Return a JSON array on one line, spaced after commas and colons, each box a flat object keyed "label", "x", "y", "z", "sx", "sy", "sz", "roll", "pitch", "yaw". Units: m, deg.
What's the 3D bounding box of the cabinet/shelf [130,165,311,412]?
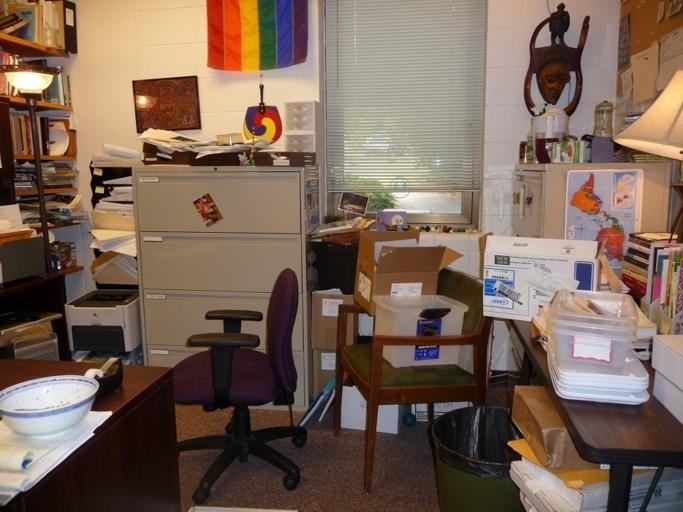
[{"label": "cabinet/shelf", "x": -0.738, "y": 0.170, "z": 4.039, "sx": 1.243, "sy": 1.671, "sz": 0.928, "roll": 1, "pitch": 9, "yaw": 7}]

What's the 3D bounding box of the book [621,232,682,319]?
[{"label": "book", "x": 1.372, "y": 0.049, "z": 2.423, "sx": 0.293, "sy": 0.400, "sz": 0.135, "roll": 1, "pitch": 5, "yaw": 21}]

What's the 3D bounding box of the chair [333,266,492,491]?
[{"label": "chair", "x": 0.450, "y": 0.739, "z": 3.212, "sx": 0.751, "sy": 0.956, "sz": 0.815, "roll": 0, "pitch": -3, "yaw": -7}]

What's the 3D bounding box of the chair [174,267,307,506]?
[{"label": "chair", "x": -0.564, "y": 0.653, "z": 2.985, "sx": 0.722, "sy": 1.133, "sz": 0.600, "roll": -2, "pitch": 13, "yaw": -4}]

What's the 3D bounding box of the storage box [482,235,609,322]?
[{"label": "storage box", "x": 0.839, "y": 0.109, "z": 2.381, "sx": 0.455, "sy": 0.365, "sz": 0.150, "roll": 5, "pitch": -11, "yaw": 27}]

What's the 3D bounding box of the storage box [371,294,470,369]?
[{"label": "storage box", "x": 0.435, "y": 0.389, "z": 3.079, "sx": 0.437, "sy": 0.324, "sz": 0.381, "roll": 0, "pitch": 9, "yaw": -8}]

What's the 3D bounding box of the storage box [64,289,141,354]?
[{"label": "storage box", "x": -1.635, "y": 0.470, "z": 3.843, "sx": 0.483, "sy": 0.409, "sz": 0.293, "roll": -1, "pitch": 13, "yaw": -1}]

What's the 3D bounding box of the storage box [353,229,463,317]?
[{"label": "storage box", "x": 0.339, "y": 0.048, "z": 3.272, "sx": 0.542, "sy": 0.481, "sz": 0.486, "roll": 5, "pitch": 7, "yaw": -8}]

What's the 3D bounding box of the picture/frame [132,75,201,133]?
[{"label": "picture/frame", "x": -1.348, "y": -1.199, "z": 4.291, "sx": 0.564, "sy": 0.426, "sz": 0.026, "roll": 0, "pitch": 9, "yaw": 8}]

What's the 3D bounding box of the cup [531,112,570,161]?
[{"label": "cup", "x": 1.309, "y": -0.757, "z": 3.467, "sx": 0.224, "sy": 0.331, "sz": 0.411, "roll": 3, "pitch": 14, "yaw": 19}]

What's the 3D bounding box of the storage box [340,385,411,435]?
[{"label": "storage box", "x": 0.183, "y": 0.992, "z": 3.451, "sx": 0.320, "sy": 0.208, "sz": 0.327, "roll": 5, "pitch": 1, "yaw": -7}]

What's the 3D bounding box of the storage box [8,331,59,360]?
[{"label": "storage box", "x": -2.023, "y": 0.581, "z": 3.583, "sx": 0.091, "sy": 0.241, "sz": 0.249, "roll": -1, "pitch": 0, "yaw": 28}]

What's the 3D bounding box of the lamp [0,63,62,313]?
[{"label": "lamp", "x": -2.121, "y": -0.591, "z": 3.902, "sx": 0.345, "sy": 1.478, "sz": 0.611, "roll": -8, "pitch": 14, "yaw": -28}]

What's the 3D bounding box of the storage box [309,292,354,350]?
[{"label": "storage box", "x": -0.085, "y": 0.438, "z": 3.767, "sx": 0.344, "sy": 0.491, "sz": 0.342, "roll": 2, "pitch": 1, "yaw": 2}]

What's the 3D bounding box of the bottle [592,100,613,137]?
[{"label": "bottle", "x": 1.640, "y": -0.865, "z": 3.446, "sx": 0.106, "sy": 0.213, "sz": 0.339, "roll": 5, "pitch": 14, "yaw": 24}]
